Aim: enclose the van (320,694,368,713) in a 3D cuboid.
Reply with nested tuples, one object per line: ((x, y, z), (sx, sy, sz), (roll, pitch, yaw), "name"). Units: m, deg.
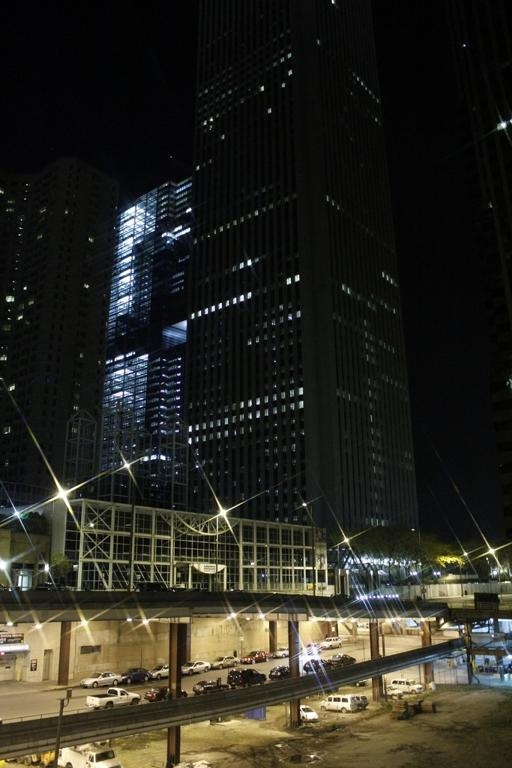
((7.032, 26.194, 56.515), (2.581, 1.206, 1.841), (-3, -24, 15), "van")

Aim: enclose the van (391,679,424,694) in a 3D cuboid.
((13.883, 27.867, 63.629), (2.254, 1.327, 1.444), (-2, -8, -1), "van")

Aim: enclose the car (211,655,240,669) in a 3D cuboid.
((-3.169, 28.011, 69.398), (1.442, 1.160, 3.959), (-13, -21, 22), "car")

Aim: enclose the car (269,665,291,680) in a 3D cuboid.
((2.019, 25.297, 60.569), (1.804, 0.854, 2.739), (-11, -21, 15), "car")

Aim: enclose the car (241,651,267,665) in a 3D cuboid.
((-0.130, 28.778, 72.636), (2.257, 1.004, 1.125), (20, -29, -40), "car")

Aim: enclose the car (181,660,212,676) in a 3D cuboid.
((-5.662, 27.065, 65.732), (3.016, 1.163, 1.255), (19, -25, -40), "car")

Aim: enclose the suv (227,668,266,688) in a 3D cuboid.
((-0.941, 24.157, 56.938), (3.822, 1.159, 2.102), (12, -26, -41), "suv")

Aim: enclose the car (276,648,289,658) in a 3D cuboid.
((2.713, 29.835, 76.326), (1.540, 0.916, 2.984), (-4, -20, -3), "car")

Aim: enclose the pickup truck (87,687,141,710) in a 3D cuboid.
((-10.189, 22.041, 48.535), (3.187, 1.110, 4.340), (-12, -21, 16), "pickup truck")
